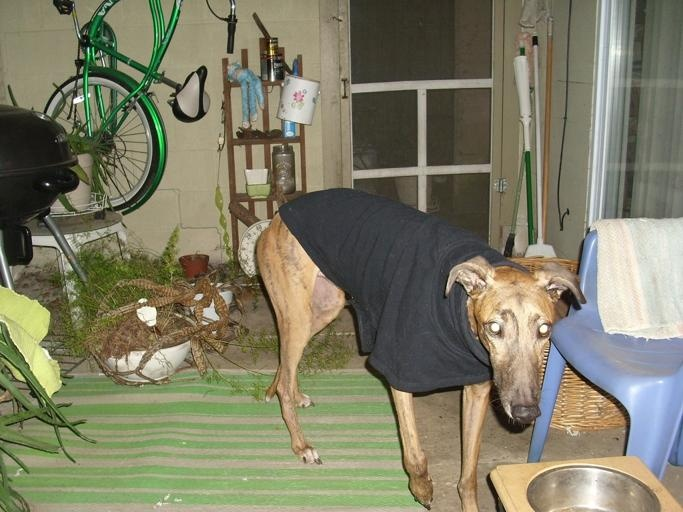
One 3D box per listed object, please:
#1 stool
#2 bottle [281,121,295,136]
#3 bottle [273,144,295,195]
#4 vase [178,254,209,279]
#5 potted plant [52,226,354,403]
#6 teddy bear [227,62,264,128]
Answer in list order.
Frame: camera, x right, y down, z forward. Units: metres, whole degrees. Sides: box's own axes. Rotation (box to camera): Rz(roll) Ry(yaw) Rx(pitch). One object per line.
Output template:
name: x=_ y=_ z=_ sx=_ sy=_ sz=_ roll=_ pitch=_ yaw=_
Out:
stool: x=-1.899 y=-0.054 z=4.939 sx=0.820 sy=0.874 sz=0.834 roll=16 pitch=19 yaw=41
bottle: x=-0.448 y=-1.081 z=5.633 sx=0.107 sy=0.126 sz=0.199 roll=1 pitch=0 yaw=-9
bottle: x=-0.505 y=-0.756 z=5.730 sx=0.194 sy=0.432 sz=0.167 roll=-5 pitch=12 yaw=-6
vase: x=-1.285 y=0.063 z=5.711 sx=0.232 sy=0.224 sz=0.275 roll=-1 pitch=5 yaw=10
potted plant: x=-1.210 y=0.358 z=4.329 sx=1.047 sy=0.511 sz=0.894 roll=6 pitch=24 yaw=-32
teddy bear: x=-0.784 y=-1.372 z=5.557 sx=0.280 sy=0.559 sz=0.143 roll=-7 pitch=24 yaw=-1
